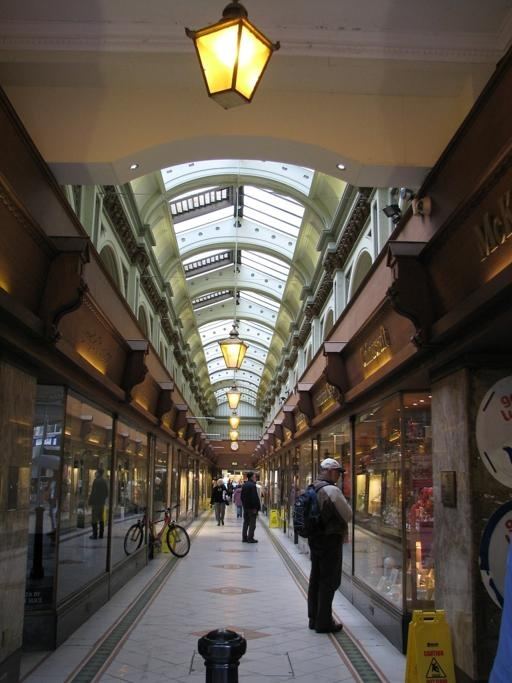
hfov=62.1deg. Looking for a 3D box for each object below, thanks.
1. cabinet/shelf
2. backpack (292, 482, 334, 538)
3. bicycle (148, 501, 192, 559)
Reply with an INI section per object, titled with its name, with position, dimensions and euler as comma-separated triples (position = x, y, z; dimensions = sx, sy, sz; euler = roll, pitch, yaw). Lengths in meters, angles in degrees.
[cabinet/shelf]
position = 1.550, 1.783, 4.882
dimensions = 0.453, 2.186, 2.234
euler = -2, -17, 1
[backpack]
position = 0.655, 1.847, 4.833
dimensions = 0.422, 0.906, 0.624
euler = 5, -21, -1
[bicycle]
position = -2.161, 4.972, 10.966
dimensions = 1.714, 1.195, 0.881
euler = -15, -20, 29
